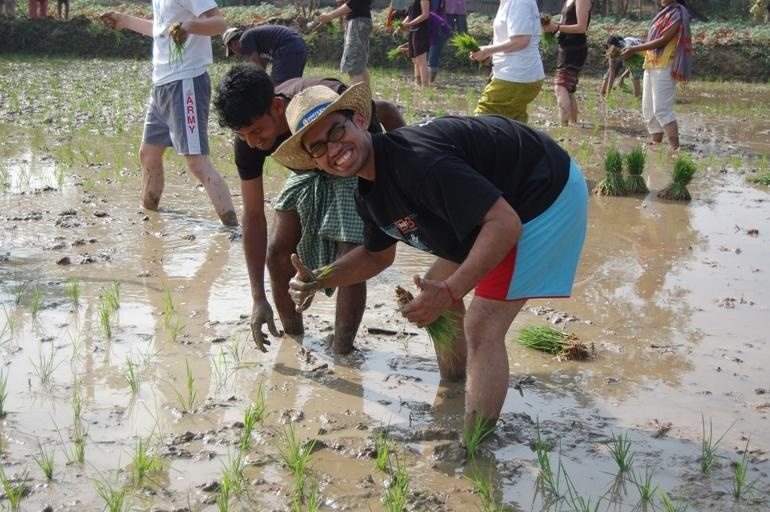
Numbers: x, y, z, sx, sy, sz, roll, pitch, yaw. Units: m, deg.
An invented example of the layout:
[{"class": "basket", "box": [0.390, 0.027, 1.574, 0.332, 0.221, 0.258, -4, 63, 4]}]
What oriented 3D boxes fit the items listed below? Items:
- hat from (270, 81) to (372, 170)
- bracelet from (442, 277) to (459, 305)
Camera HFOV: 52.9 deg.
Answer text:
[{"class": "hat", "box": [-0.373, -0.859, 5.016, 0.218, 0.561, 0.562, 50, 19, 15]}, {"class": "bracelet", "box": [0.408, 0.220, 4.786, 0.031, 0.124, 0.125, -32, -24, 17]}]
